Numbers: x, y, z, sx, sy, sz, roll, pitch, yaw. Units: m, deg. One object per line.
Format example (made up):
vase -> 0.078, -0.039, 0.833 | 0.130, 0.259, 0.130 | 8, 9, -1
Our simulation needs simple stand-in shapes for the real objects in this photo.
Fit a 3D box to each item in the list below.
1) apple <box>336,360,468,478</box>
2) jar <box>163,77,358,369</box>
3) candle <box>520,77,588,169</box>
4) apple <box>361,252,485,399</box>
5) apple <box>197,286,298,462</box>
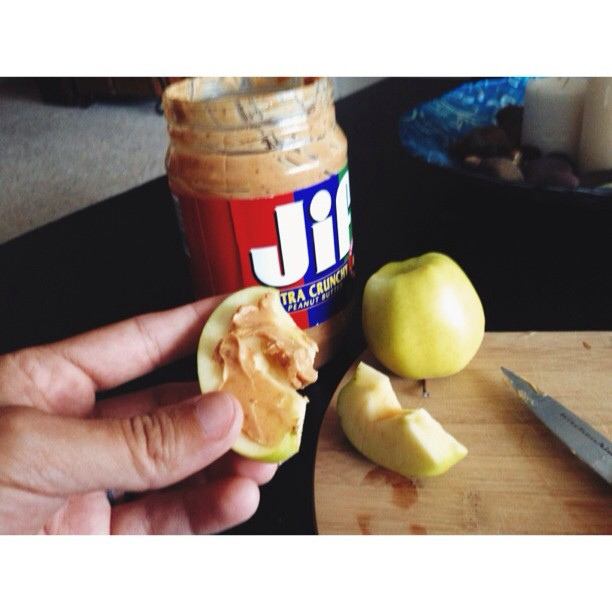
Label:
apple -> 0.101, 0.140, 0.768 | 0.080, 0.053, 0.171 | -33, 53, -22
jar -> -0.054, -0.098, 0.775 | 0.169, 0.339, 0.187 | -17, 31, -19
candle -> 0.337, -0.260, 0.896 | 0.085, 0.119, 0.032 | 13, 45, 19
apple -> 0.149, 0.034, 0.875 | 0.138, 0.210, 0.162 | -15, 18, -7
apple -> -0.054, 0.100, 0.777 | 0.130, 0.164, 0.158 | -3, 41, -6
